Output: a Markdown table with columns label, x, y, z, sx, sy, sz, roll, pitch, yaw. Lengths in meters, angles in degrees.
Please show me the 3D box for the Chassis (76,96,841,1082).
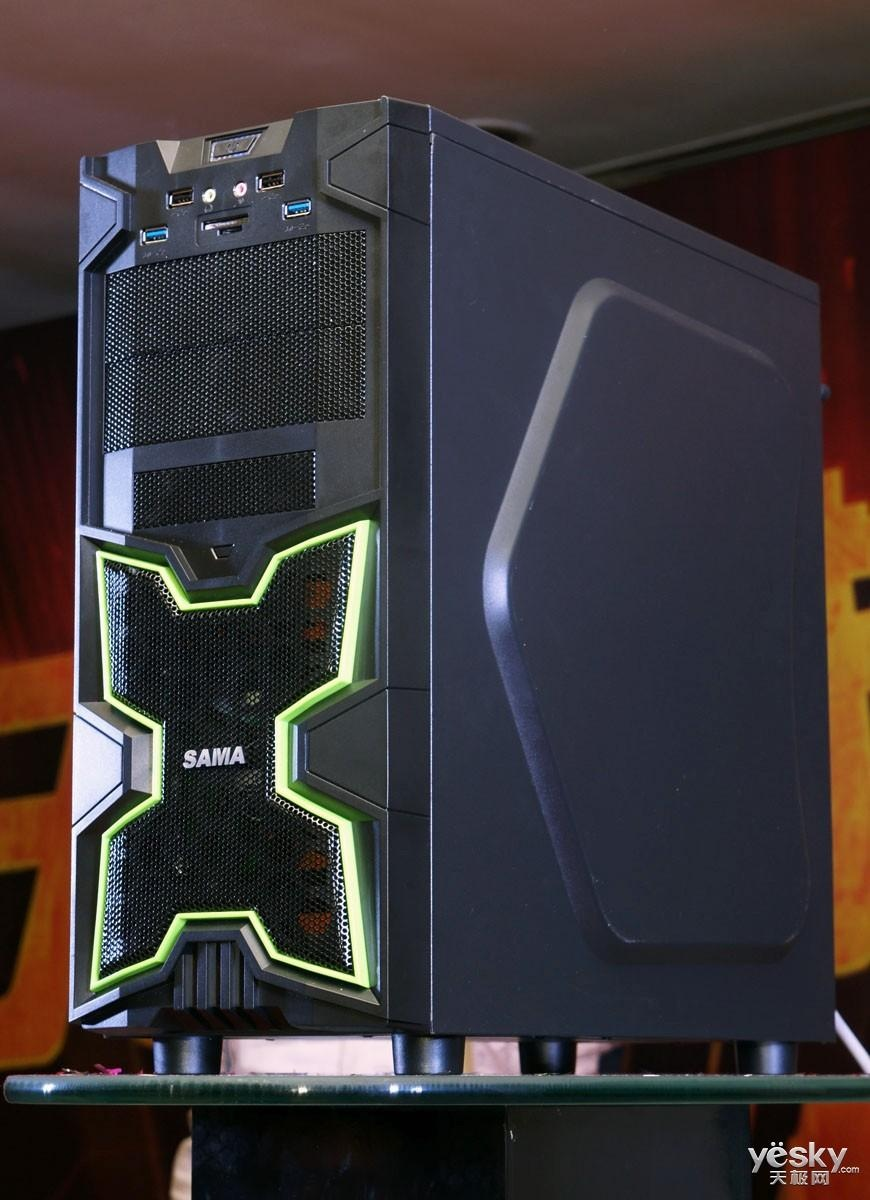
| label | x | y | z | sx | sy | sz | roll | pitch | yaw |
| --- | --- | --- | --- | --- | --- | --- | --- | --- | --- |
| Chassis | 0.042 | 0.043 | 1.307 | 0.390 | 0.660 | 0.587 | -8 | -14 | 36 |
